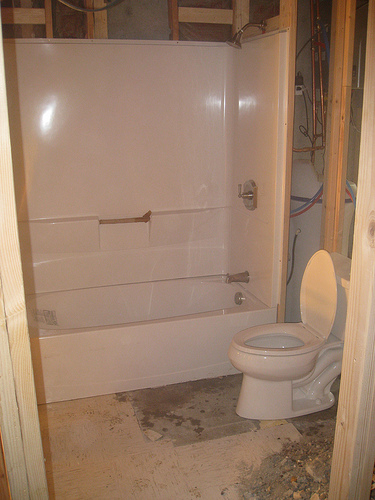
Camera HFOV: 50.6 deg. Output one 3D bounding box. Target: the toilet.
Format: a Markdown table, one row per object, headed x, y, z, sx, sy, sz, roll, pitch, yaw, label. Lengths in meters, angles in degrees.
| x | y | z | sx | sy | sz | roll | pitch | yaw | label |
| --- | --- | --- | --- | --- | --- | --- | --- | --- | --- |
| 0.563 | 0.465 | 2.182 | 0.707 | 0.893 | 0.387 | -6 | 12 | -23 | toilet |

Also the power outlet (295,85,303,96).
| x | y | z | sx | sy | sz | roll | pitch | yaw | label |
| --- | --- | --- | --- | --- | --- | --- | --- | --- | --- |
| 0.787 | -1.116 | 2.782 | 0.053 | 0.058 | 0.149 | 3 | 13 | 17 | power outlet |
